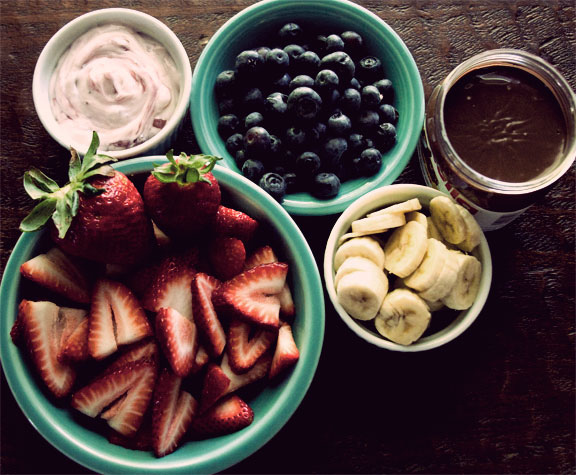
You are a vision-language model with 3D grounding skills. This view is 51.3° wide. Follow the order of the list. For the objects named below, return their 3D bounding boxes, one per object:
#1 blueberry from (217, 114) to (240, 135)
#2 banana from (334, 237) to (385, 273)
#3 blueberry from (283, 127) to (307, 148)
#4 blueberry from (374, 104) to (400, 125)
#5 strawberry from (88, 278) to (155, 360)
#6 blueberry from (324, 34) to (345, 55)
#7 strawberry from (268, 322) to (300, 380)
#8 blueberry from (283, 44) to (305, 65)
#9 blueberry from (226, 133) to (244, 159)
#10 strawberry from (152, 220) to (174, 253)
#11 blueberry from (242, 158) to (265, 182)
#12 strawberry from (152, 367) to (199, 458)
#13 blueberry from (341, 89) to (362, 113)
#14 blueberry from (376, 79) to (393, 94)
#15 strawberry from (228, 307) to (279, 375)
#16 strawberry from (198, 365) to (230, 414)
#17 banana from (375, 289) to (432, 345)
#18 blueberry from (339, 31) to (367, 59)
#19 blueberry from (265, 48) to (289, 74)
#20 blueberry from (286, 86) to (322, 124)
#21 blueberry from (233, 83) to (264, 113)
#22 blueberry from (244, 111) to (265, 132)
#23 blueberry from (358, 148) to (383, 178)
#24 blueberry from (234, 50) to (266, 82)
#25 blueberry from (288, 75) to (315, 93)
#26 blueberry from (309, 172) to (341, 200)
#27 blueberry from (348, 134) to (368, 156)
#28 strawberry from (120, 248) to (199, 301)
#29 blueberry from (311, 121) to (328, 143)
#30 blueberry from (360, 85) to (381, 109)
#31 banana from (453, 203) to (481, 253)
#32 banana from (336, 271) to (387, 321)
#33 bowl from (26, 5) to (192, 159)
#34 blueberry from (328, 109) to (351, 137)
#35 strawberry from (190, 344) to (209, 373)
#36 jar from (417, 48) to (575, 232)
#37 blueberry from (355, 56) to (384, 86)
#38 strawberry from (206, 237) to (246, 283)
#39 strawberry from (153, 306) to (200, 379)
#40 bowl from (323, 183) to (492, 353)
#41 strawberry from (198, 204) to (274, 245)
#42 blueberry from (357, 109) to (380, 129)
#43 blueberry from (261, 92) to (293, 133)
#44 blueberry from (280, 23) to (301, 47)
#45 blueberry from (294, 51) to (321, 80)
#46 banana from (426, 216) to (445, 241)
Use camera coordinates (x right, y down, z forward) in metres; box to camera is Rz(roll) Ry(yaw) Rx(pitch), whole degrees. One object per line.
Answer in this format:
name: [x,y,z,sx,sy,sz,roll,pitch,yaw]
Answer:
blueberry: [-0.190,-0.359,1.896,0.072,0.031,0.060,0,75,-3]
banana: [0.249,0.048,1.904,0.043,0.173,0.171,-36,81,4]
blueberry: [0.019,-0.312,1.867,0.070,0.052,0.054,2,75,-2]
blueberry: [0.312,-0.393,1.900,0.066,0.041,0.057,-23,107,12]
strawberry: [-0.489,0.231,1.694,0.172,0.053,0.201,-13,84,-1]
blueberry: [0.146,-0.606,1.894,0.067,0.042,0.068,5,75,-1]
strawberry: [-0.019,0.319,1.758,0.100,0.192,0.040,-6,47,8]
blueberry: [0.018,-0.581,1.886,0.054,0.035,0.067,0,80,-2]
blueberry: [-0.166,-0.297,1.936,0.064,0.081,0.065,1,39,-3]
strawberry: [-0.371,-0.002,1.795,0.066,0.046,0.085,-20,87,-15]
blueberry: [-0.107,-0.217,1.901,0.063,0.067,0.068,-8,110,-31]
strawberry: [-0.315,0.474,1.667,0.131,0.052,0.231,7,90,-39]
blueberry: [0.195,-0.427,1.858,0.058,0.062,0.075,-1,98,2]
blueberry: [0.308,-0.485,1.916,0.040,0.017,0.048,7,83,-2]
strawberry: [-0.109,0.288,1.756,0.138,0.045,0.192,28,91,-1]
strawberry: [-0.216,0.425,1.688,0.030,0.091,0.121,20,105,-29]
banana: [0.352,0.233,1.826,0.155,0.048,0.163,26,112,7]
blueberry: [0.215,-0.613,1.953,0.091,0.073,0.051,48,69,-24]
blueberry: [-0.036,-0.545,1.849,0.067,0.061,0.071,-6,104,-9]
blueberry: [0.046,-0.403,1.814,0.105,0.049,0.111,2,104,6]
blueberry: [-0.127,-0.444,1.903,0.095,0.053,0.092,-2,75,-3]
blueberry: [-0.105,-0.361,1.867,0.054,0.021,0.054,-44,76,8]
blueberry: [0.255,-0.235,1.874,0.078,0.081,0.100,1,103,3]
blueberry: [-0.119,-0.539,1.869,0.090,0.094,0.094,6,109,7]
blueberry: [0.046,-0.468,1.843,0.050,0.060,0.034,-5,94,-7]
blueberry: [0.112,-0.158,1.861,0.080,0.058,0.085,4,91,-6]
blueberry: [0.219,-0.291,1.889,0.055,0.023,0.065,0,90,-1]
strawberry: [-0.335,0.120,1.788,0.221,0.175,0.079,-42,78,19]
blueberry: [0.096,-0.331,1.871,0.055,0.039,0.054,-7,75,-4]
blueberry: [0.258,-0.451,1.893,0.065,0.039,0.074,-10,76,-5]
banana: [0.558,-0.028,1.850,0.032,0.124,0.121,-20,114,7]
banana: [0.219,0.165,1.808,0.146,0.100,0.138,20,75,3]
bowl: [-0.549,-0.479,1.880,0.491,0.110,0.478,1,75,-3]
blueberry: [0.157,-0.349,1.896,0.067,0.095,0.072,-8,50,15]
strawberry: [-0.250,0.340,1.703,0.060,0.017,0.062,-2,73,35]
jar: [0.602,-0.324,1.984,0.446,0.511,0.512,-2,101,6]
blueberry: [0.258,-0.535,1.922,0.082,0.089,0.092,3,100,-2]
strawberry: [-0.181,0.057,1.722,0.098,0.041,0.130,-5,104,25]
strawberry: [-0.305,0.278,1.678,0.109,0.093,0.194,-30,79,-10]
bowl: [0.328,0.053,1.951,0.510,0.220,0.545,0,97,1]
strawberry: [-0.145,-0.032,1.751,0.157,0.063,0.127,11,38,-1]
blueberry: [0.255,-0.378,1.892,0.069,0.023,0.069,8,75,-1]
blueberry: [-0.035,-0.387,1.861,0.094,0.066,0.122,-4,94,22]
blueberry: [0.007,-0.651,1.922,0.057,0.074,0.078,-7,96,-46]
blueberry: [0.060,-0.541,1.867,0.079,0.082,0.099,4,64,-2]
banana: [0.454,-0.026,1.875,0.054,0.018,0.069,-43,96,0]
